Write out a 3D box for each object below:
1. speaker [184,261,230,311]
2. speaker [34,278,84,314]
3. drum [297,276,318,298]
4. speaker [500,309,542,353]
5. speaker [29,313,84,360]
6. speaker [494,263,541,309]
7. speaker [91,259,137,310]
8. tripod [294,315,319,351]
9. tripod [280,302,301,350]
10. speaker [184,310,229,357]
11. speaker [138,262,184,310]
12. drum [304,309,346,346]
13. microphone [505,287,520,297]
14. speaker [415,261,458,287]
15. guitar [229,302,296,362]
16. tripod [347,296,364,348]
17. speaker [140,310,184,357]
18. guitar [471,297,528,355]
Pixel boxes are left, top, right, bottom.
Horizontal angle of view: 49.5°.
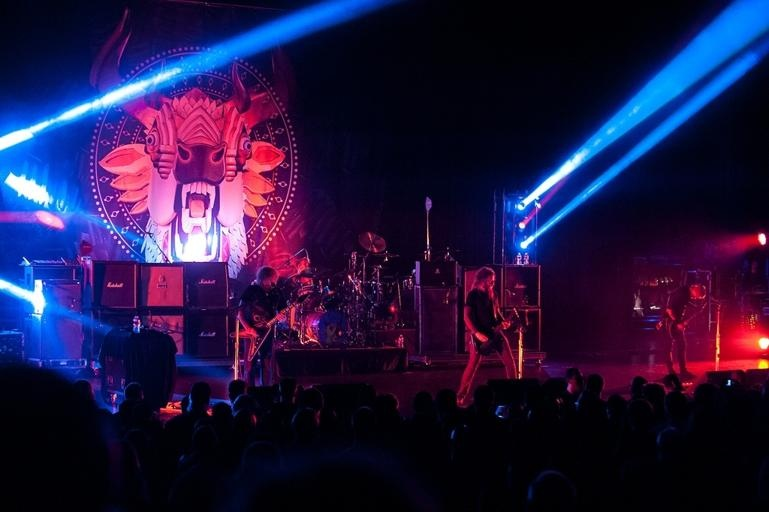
[{"bbox_3d":[-3.793,0.642,17.564,0.918,1.194,1.277,3,-3,-11],"label":"speaker"},{"bbox_3d":[-6.389,0.807,16.560,1.086,0.969,0.599,3,-4,-22],"label":"speaker"},{"bbox_3d":[-1.576,0.642,16.979,0.406,0.494,0.523,3,-12,-6],"label":"drum"},{"bbox_3d":[3.072,1.604,17.970,1.113,1.003,0.995,3,-9,-24],"label":"speaker"},{"bbox_3d":[-6.338,1.643,16.560,1.183,1.132,0.866,3,-6,-18],"label":"speaker"},{"bbox_3d":[2.704,0.696,17.965,1.065,0.965,0.769,0,-3,-24],"label":"speaker"},{"bbox_3d":[-5.546,0.625,16.814,1.167,1.036,1.166,2,-1,-30],"label":"speaker"},{"bbox_3d":[-1.698,1.549,16.846,0.673,0.656,0.672,-5,-13,22],"label":"tripod"},{"bbox_3d":[-1.760,1.295,15.535,0.523,0.924,0.224,1,-1,0],"label":"tripod"},{"bbox_3d":[-3.660,1.600,16.916,0.967,0.882,0.510,1,-8,-7],"label":"speaker"},{"bbox_3d":[-4.611,0.624,16.954,0.960,0.861,0.513,1,-3,-34],"label":"speaker"},{"bbox_3d":[-1.153,1.441,16.707,0.876,0.845,0.658,1,6,-13],"label":"drum"},{"bbox_3d":[2.671,0.777,17.677,0.287,0.205,0.154,2,4,-7],"label":"microphone"},{"bbox_3d":[1.086,0.394,17.594,0.957,0.591,0.504,0,2,-7],"label":"speaker"},{"bbox_3d":[-2.124,1.357,14.867,1.273,0.534,0.174,-11,-14,1],"label":"guitar"},{"bbox_3d":[-0.586,1.374,16.926,0.370,0.940,0.447,2,-12,-2],"label":"tripod"},{"bbox_3d":[-4.416,1.539,17.085,0.934,0.803,0.890,4,2,-2],"label":"speaker"},{"bbox_3d":[2.006,1.272,14.881,1.349,0.559,0.179,10,-15,-20],"label":"guitar"}]
